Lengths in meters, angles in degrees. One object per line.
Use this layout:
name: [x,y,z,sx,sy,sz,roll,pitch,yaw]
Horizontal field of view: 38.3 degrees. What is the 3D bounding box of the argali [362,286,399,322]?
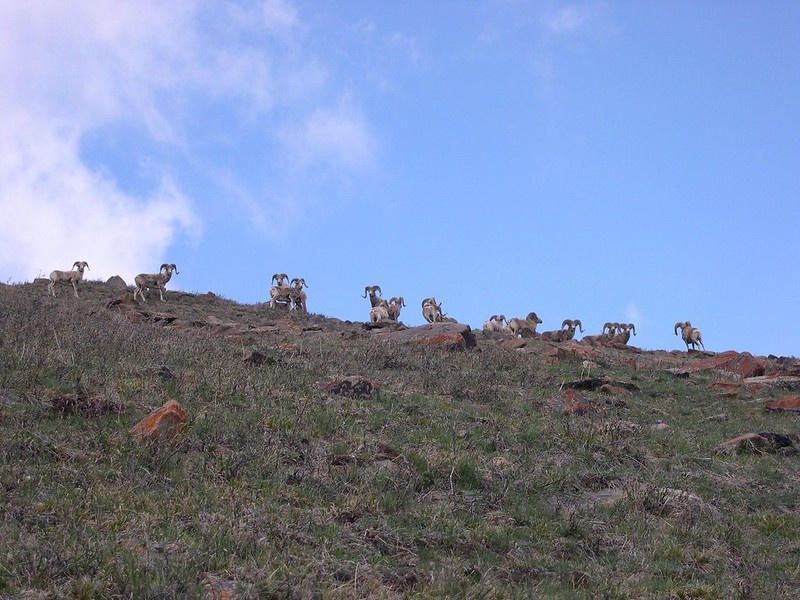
argali: [-1.271,0.367,52.044,0.810,1.878,1.605,-4,-82,-2]
